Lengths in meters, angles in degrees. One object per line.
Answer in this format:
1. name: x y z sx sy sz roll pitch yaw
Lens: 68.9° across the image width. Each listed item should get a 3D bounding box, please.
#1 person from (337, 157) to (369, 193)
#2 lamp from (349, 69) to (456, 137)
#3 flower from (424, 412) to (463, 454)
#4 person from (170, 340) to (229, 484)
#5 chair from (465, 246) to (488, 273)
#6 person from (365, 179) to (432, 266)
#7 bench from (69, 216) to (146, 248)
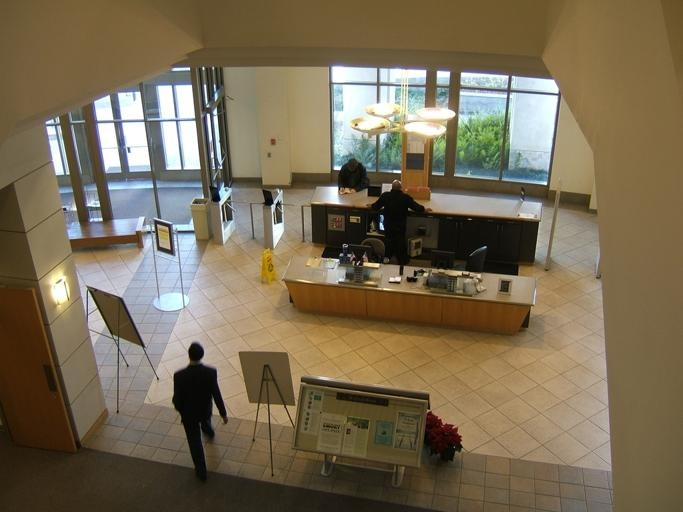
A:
1. person: 0.296 -1.830 11.762 0.753 1.302 0.756 1 55 3
2. lamp: 1.206 -2.786 9.304 1.773 1.119 1.766 2 -3 -27
3. flower: 1.268 2.199 6.160 0.517 0.331 0.546 -1 47 4
4. person: -1.765 1.829 6.229 0.510 1.764 0.599 5 17 18
5. chair: 2.428 0.088 8.871 0.438 0.493 0.226 -11 19 -34
6. person: 1.173 -0.661 10.560 0.965 1.793 0.363 1 16 3
7. bench: -5.516 -0.503 11.718 1.629 0.558 0.982 -5 17 -15
